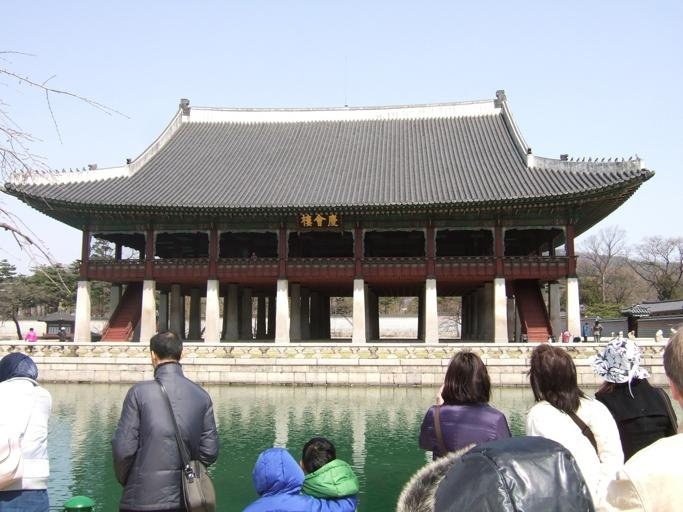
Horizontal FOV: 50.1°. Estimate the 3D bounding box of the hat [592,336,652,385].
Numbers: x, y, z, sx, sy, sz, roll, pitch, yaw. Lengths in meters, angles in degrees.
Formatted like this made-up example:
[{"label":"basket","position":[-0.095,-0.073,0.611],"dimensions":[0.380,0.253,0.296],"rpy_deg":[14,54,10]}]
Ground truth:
[{"label":"hat","position":[3.111,1.139,8.152],"dimensions":[0.522,0.286,0.557],"rpy_deg":[14,39,28]}]
